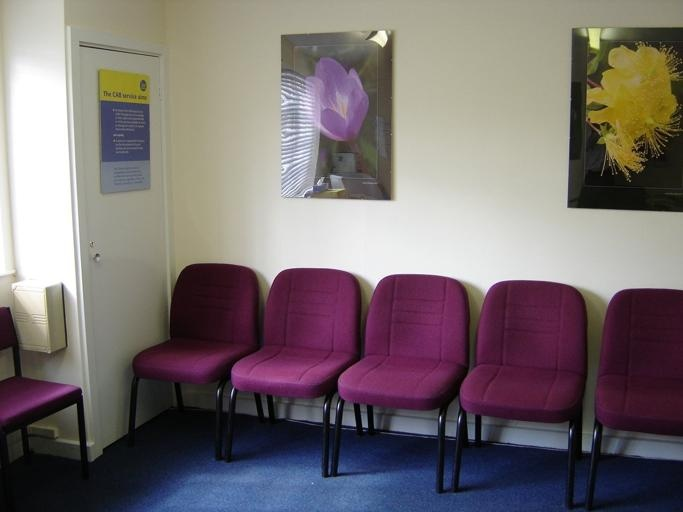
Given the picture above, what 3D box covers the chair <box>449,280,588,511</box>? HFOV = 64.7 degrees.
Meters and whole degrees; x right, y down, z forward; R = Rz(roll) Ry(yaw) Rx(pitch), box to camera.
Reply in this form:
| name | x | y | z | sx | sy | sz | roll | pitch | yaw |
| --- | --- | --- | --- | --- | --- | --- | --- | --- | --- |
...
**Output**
| name | x | y | z | sx | sy | sz | roll | pitch | yaw |
| --- | --- | --- | --- | --- | --- | --- | --- | --- | --- |
| chair | 1.011 | 0.719 | 3.022 | 0.651 | 1.032 | 0.785 | 7 | 16 | 26 |
